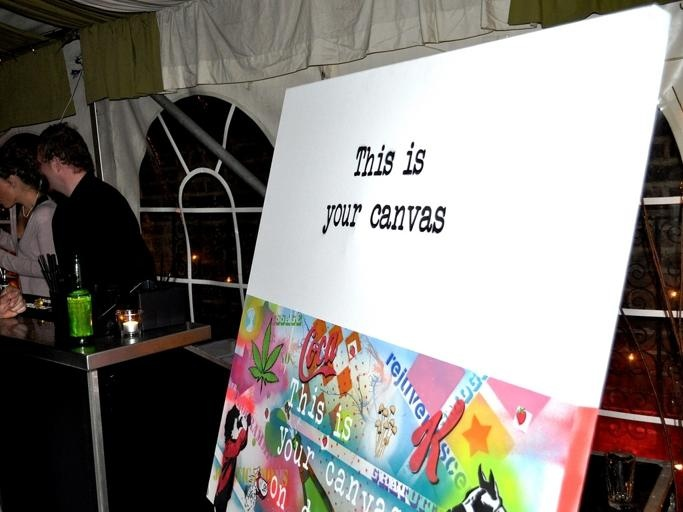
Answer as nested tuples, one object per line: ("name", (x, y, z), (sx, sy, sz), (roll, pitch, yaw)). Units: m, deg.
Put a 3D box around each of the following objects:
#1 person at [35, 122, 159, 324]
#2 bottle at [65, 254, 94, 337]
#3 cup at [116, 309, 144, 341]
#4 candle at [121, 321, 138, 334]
("person", (-1.254, -0.213, 2.731), (0.807, 0.929, 0.477), (6, 5, 32))
("bottle", (-1.124, 0.176, 2.376), (0.142, 0.361, 0.150), (2, 4, 0))
("cup", (-0.943, 0.307, 2.411), (0.104, 0.147, 0.113), (-2, -3, 0))
("candle", (-0.935, 0.316, 2.402), (0.048, 0.039, 0.053), (4, -6, -18))
